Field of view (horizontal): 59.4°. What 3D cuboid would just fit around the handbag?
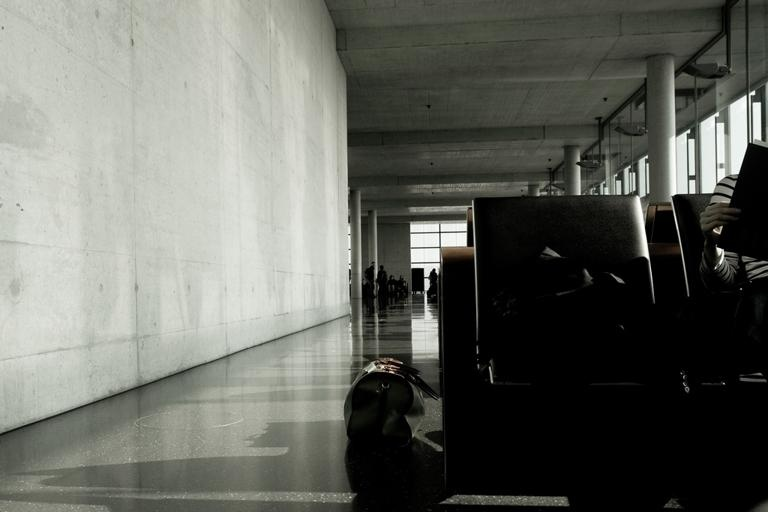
[{"bbox_3d":[0.026,0.824,3.972,0.529,0.435,0.651,2,-9,1],"label":"handbag"}]
